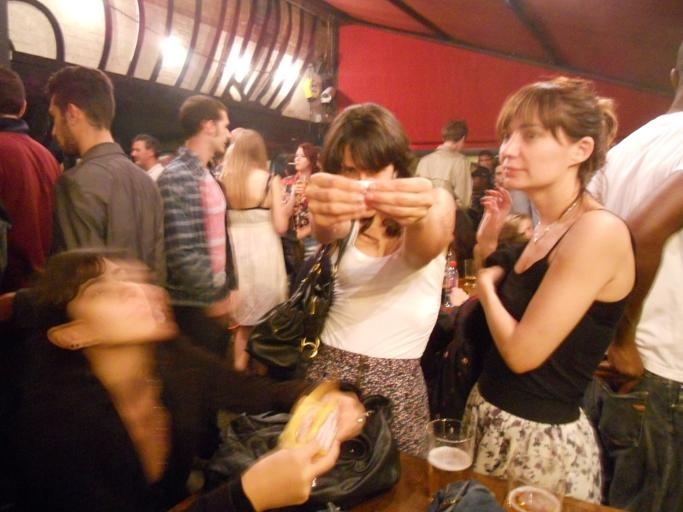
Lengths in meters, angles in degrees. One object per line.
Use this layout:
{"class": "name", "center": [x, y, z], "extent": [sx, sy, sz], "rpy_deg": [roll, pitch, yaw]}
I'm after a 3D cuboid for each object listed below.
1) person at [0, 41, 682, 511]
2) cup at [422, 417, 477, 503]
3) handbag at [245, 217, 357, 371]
{"class": "person", "center": [-0.016, 0.074, 1.733], "extent": [2.736, 0.884, 0.775], "rpy_deg": [-7, 40, -3]}
{"class": "cup", "center": [0.316, 0.603, 1.459], "extent": [0.156, 0.249, 0.154], "rpy_deg": [0, -10, 0]}
{"class": "handbag", "center": [-0.136, 0.139, 1.730], "extent": [0.182, 0.481, 0.421], "rpy_deg": [13, 17, 21]}
